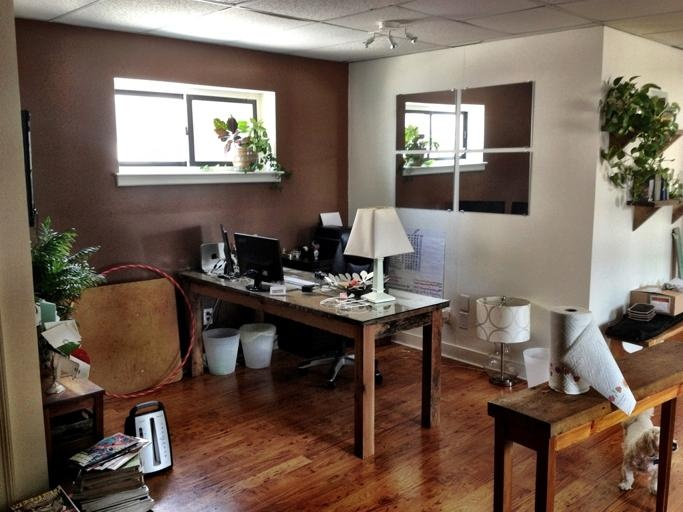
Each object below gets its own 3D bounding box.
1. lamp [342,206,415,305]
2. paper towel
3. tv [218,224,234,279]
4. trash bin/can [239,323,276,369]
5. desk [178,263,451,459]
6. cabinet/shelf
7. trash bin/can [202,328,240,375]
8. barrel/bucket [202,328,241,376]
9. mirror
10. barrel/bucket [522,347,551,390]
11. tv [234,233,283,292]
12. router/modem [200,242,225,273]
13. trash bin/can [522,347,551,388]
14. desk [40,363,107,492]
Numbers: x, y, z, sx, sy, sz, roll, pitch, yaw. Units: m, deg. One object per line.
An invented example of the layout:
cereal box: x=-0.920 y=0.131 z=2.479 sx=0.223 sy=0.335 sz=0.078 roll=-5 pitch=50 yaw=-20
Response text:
lamp: x=0.293 y=-0.013 z=4.168 sx=0.487 sy=0.728 sz=0.244 roll=-5 pitch=14 yaw=-19
paper towel: x=1.196 y=0.481 z=2.541 sx=0.179 sy=0.387 sz=0.450 roll=-5 pitch=11 yaw=-35
tv: x=-1.090 y=-0.046 z=5.043 sx=0.170 sy=0.498 sz=0.117 roll=0 pitch=-4 yaw=-5
trash bin/can: x=-0.851 y=0.904 z=5.362 sx=0.385 sy=0.346 sz=0.390 roll=1 pitch=-1 yaw=-14
desk: x=-0.388 y=0.788 z=4.838 sx=2.402 sy=1.014 sz=1.039 roll=8 pitch=10 yaw=42
cabinet/shelf: x=2.992 y=-0.710 z=4.939 sx=0.927 sy=0.902 sz=0.297 roll=-13 pitch=19 yaw=-43
trash bin/can: x=-1.165 y=0.954 z=5.227 sx=0.368 sy=0.357 sz=0.344 roll=2 pitch=-5 yaw=-41
barrel/bucket: x=-1.153 y=0.914 z=5.290 sx=0.416 sy=0.425 sz=0.414 roll=3 pitch=5 yaw=0
mirror: x=1.233 y=-1.051 z=5.166 sx=1.540 sy=1.239 sz=0.055 roll=5 pitch=8 yaw=40
barrel/bucket: x=1.653 y=0.939 z=4.589 sx=0.297 sy=0.309 sz=0.289 roll=-2 pitch=-11 yaw=0
tv: x=-0.727 y=0.048 z=4.588 sx=0.665 sy=0.464 sz=0.191 roll=9 pitch=14 yaw=44
router/modem: x=-1.261 y=0.000 z=5.222 sx=0.318 sy=0.290 sz=0.254 roll=-3 pitch=0 yaw=-30
trash bin/can: x=1.687 y=0.933 z=4.570 sx=0.297 sy=0.305 sz=0.281 roll=1 pitch=-10 yaw=-2
desk: x=-1.769 y=1.046 z=3.399 sx=0.373 sy=0.540 sz=0.393 roll=-7 pitch=24 yaw=-38
